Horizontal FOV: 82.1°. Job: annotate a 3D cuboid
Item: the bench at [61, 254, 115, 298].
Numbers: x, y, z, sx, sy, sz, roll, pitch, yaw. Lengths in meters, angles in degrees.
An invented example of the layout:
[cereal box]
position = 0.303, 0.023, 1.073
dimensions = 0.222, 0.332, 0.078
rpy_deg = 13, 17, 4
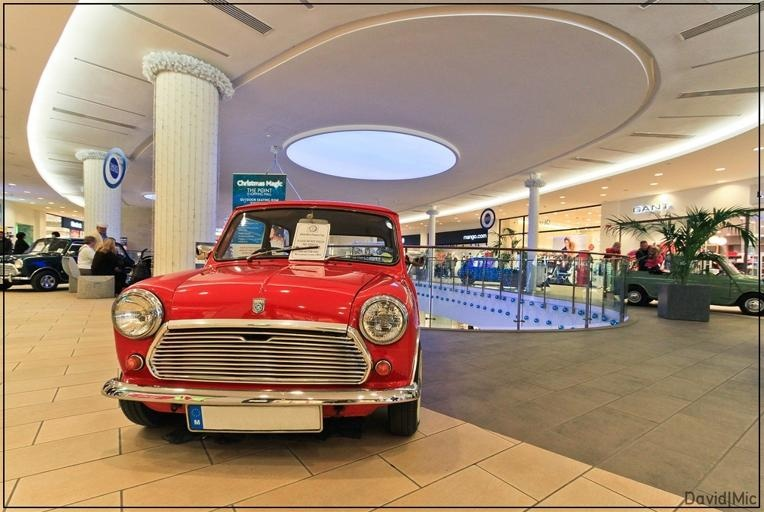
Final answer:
[bench]
position = -7.676, 0.529, 11.590
dimensions = 1.184, 1.092, 1.368
rpy_deg = 0, -1, -32

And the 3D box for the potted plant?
[potted plant]
position = 6.356, 0.206, 9.107
dimensions = 1.889, 2.406, 1.683
rpy_deg = 4, 4, 28

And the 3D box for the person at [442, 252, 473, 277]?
[person]
position = 1.811, 0.197, 10.954
dimensions = 0.595, 0.707, 0.747
rpy_deg = 3, -12, -5

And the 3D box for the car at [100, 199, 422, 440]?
[car]
position = -1.086, 0.588, 4.644
dimensions = 2.989, 2.445, 1.489
rpy_deg = 2, 4, 4
